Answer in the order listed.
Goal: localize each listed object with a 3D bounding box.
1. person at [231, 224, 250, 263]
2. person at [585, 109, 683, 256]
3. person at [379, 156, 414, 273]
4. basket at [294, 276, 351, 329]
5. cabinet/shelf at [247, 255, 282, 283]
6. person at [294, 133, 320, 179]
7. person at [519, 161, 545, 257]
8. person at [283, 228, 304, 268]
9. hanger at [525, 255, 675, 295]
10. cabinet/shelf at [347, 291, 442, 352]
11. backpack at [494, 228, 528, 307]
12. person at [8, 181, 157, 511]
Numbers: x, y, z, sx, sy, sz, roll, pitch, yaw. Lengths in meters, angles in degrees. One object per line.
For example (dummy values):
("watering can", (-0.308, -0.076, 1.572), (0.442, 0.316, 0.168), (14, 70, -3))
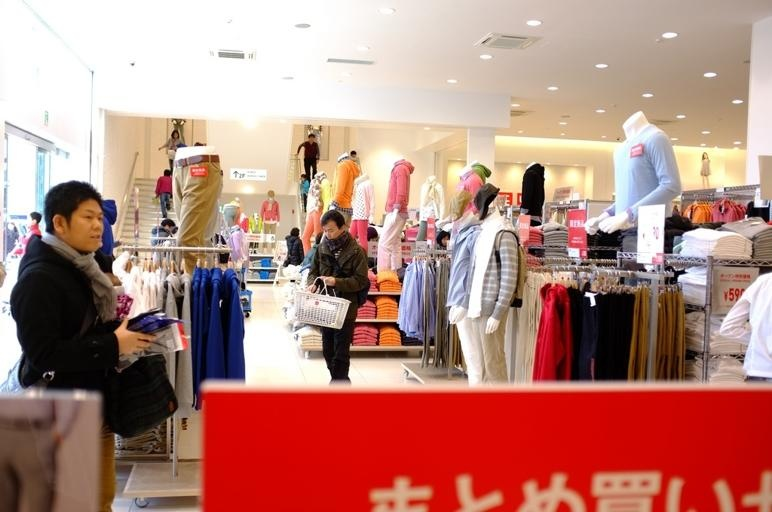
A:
("person", (-2.277, -0.154, 9.066), (0.271, 0.621, 1.061), (-6, 7, -11))
("person", (1.807, -0.567, 4.231), (0.560, 1.068, 0.719), (1, 5, -11))
("person", (0.127, -0.611, 8.459), (0.460, 1.611, 0.609), (2, 5, 1))
("basket", (-0.521, 0.379, 4.743), (0.449, 0.441, 0.306), (7, -11, 6))
("cabinet/shelf", (-3.104, 0.331, 14.868), (0.775, 0.348, 1.063), (0, 2, -6))
("person", (-2.054, -2.666, 15.631), (0.484, 1.272, 0.640), (1, 5, -6))
("person", (1.807, -0.774, 7.245), (0.256, 0.770, 0.461), (3, 5, 12))
("person", (-1.818, -0.178, 11.618), (0.335, 0.802, 1.300), (1, 6, -9))
("hanger", (1.651, 0.087, 4.682), (0.951, 0.206, 1.687), (3, 6, 9))
("cabinet/shelf", (-0.034, 0.851, 7.076), (0.789, 0.399, 0.799), (2, 4, -9))
("backpack", (0.960, 0.100, 4.380), (0.173, 0.599, 0.485), (4, 6, 32))
("person", (-1.332, 0.447, 2.578), (0.508, 1.549, 0.501), (-2, 6, -38))
